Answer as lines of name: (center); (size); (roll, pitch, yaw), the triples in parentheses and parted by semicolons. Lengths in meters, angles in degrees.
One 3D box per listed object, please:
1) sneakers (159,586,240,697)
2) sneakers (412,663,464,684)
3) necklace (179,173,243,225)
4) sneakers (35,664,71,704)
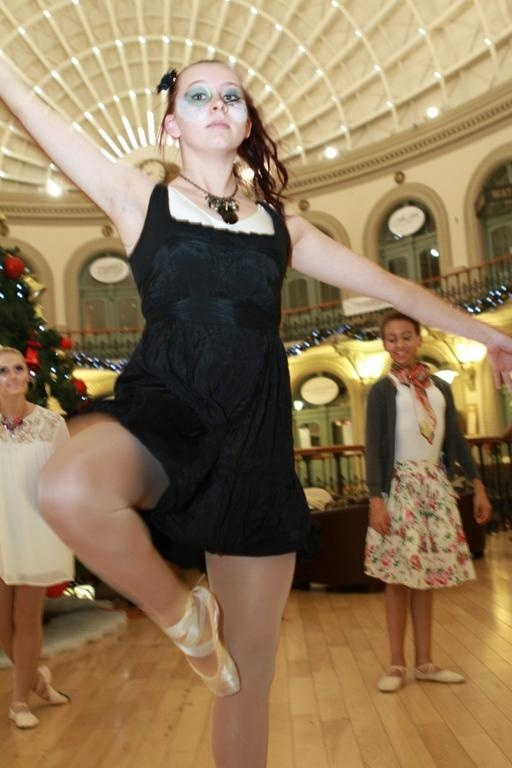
sneakers: (-0.062, 0.368, 0.752); (0.077, 0.086, 0.232); (-45, -11, -10)
sneakers: (0.974, 1.551, 2.792); (0.271, 0.099, 0.087); (0, 25, 22)
necklace: (-0.071, -0.327, 0.965); (0.079, 0.123, 0.013); (-5, -43, -34)
sneakers: (-1.052, 1.582, 2.756); (0.144, 0.097, 0.330); (-14, -44, 15)
